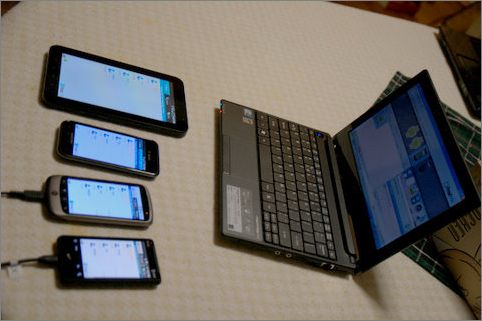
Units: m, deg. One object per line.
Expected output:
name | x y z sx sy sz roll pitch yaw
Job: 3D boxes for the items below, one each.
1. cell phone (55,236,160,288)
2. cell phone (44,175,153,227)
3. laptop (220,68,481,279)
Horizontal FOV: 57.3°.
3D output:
cell phone | -0.255 0.193 0.853 0.195 0.058 0.081 8 31 -22
cell phone | -0.281 0.071 0.860 0.199 0.029 0.101 8 65 -23
laptop | 0.244 0.032 1.074 0.522 0.377 0.463 14 49 -34
